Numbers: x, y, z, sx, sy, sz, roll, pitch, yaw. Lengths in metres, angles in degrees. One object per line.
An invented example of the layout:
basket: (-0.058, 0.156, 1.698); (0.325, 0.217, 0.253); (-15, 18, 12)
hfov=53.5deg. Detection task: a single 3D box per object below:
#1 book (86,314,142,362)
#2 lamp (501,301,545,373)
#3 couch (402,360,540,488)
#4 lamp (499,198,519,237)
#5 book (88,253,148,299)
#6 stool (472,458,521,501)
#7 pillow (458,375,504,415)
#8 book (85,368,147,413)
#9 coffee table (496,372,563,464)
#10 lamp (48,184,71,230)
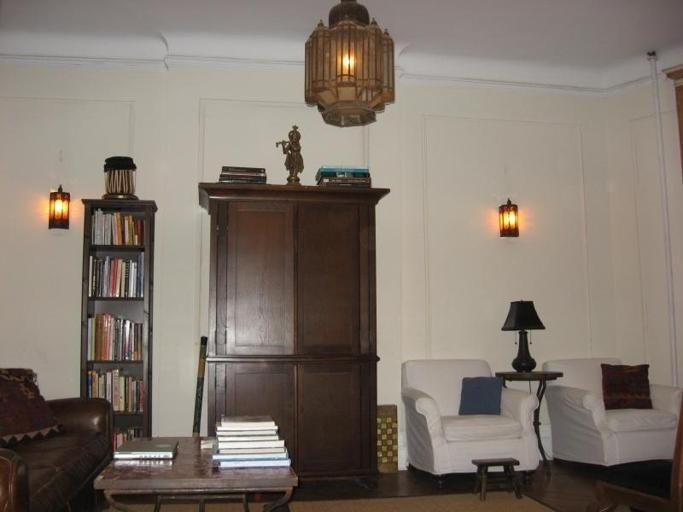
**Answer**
book: (-2.109, 0.756, 6.527); (0.591, 0.616, 0.376); (1, -3, -8)
lamp: (1.887, 0.830, 7.032); (0.431, 0.727, 0.447); (-2, -2, -34)
couch: (1.252, 1.565, 6.707); (1.421, 1.130, 1.437); (-8, -12, 37)
lamp: (1.814, -0.406, 7.315); (0.235, 0.413, 0.126); (-2, -3, 3)
book: (-2.123, 0.204, 6.418); (0.491, 0.517, 0.365); (2, -9, -16)
stool: (1.399, 1.967, 6.052); (0.386, 0.312, 0.336); (-5, -7, 8)
pillow: (1.364, 1.347, 6.575); (0.374, 0.378, 0.117); (-4, -24, 25)
book: (-2.137, 1.218, 6.415); (0.441, 0.400, 0.277); (4, 6, -10)
coffee table: (1.955, 1.580, 6.991); (0.626, 0.798, 0.577); (-4, -5, 19)
lamp: (-2.759, -0.468, 6.597); (0.212, 0.420, 0.156); (-1, -3, -18)
